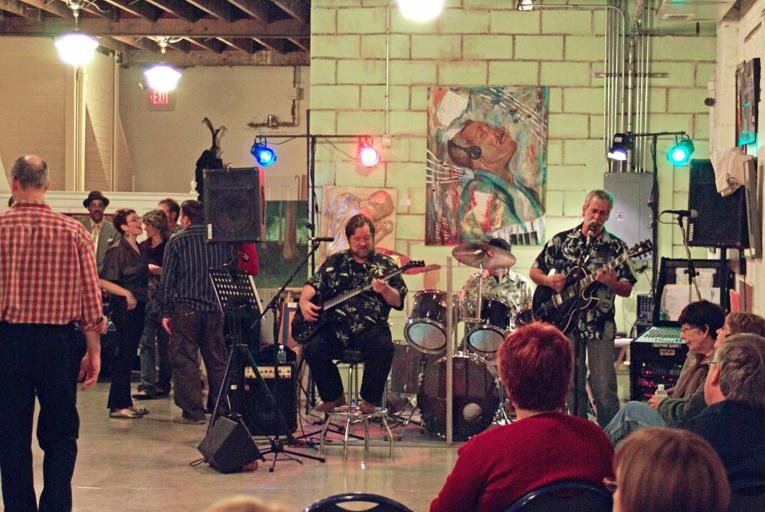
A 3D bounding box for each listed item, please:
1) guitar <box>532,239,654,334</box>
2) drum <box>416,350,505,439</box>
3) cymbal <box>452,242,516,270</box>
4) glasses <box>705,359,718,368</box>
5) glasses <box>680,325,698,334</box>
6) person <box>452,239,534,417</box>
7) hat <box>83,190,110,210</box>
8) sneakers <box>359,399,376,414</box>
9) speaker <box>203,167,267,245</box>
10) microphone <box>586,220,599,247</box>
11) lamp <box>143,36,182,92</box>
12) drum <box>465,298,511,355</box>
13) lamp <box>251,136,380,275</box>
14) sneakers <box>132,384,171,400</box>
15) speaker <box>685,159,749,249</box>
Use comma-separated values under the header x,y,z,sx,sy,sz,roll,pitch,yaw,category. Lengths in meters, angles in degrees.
x,y,z,sx,sy,sz,roll,pitch,yaw,category
1.921,0.298,10.623,0.159,0.586,1.369,13,-35,-33,guitar
0.744,1.331,11.483,0.910,0.928,0.572,3,15,5,drum
0.974,-0.005,11.381,0.653,0.230,0.424,3,-1,-18,cymbal
2.498,0.814,8.718,0.105,0.052,0.128,2,-5,-13,glasses
2.536,0.619,9.470,0.108,0.035,0.103,-15,8,-18,glasses
1.023,0.707,10.819,1.052,1.523,1.418,-1,42,10,person
-3.421,-0.665,13.769,0.258,0.106,0.289,-6,-23,-20,hat
-0.134,1.413,10.808,0.159,0.116,0.133,3,-1,-14,sneakers
-1.406,-0.428,10.910,0.529,0.728,0.414,-3,-12,-1,speaker
1.948,-0.220,10.672,0.075,0.268,0.075,8,-37,9,microphone
-2.944,-2.600,15.456,0.448,0.784,0.462,-3,-7,6,lamp
1.148,0.694,11.605,0.438,0.430,0.435,-18,19,-7,drum
-0.780,-0.771,13.363,1.368,1.452,0.445,0,32,-4,lamp
-2.568,1.522,12.839,0.423,0.128,0.148,7,-4,-28,sneakers
3.175,-0.497,10.909,0.593,0.681,0.182,2,-1,43,speaker
